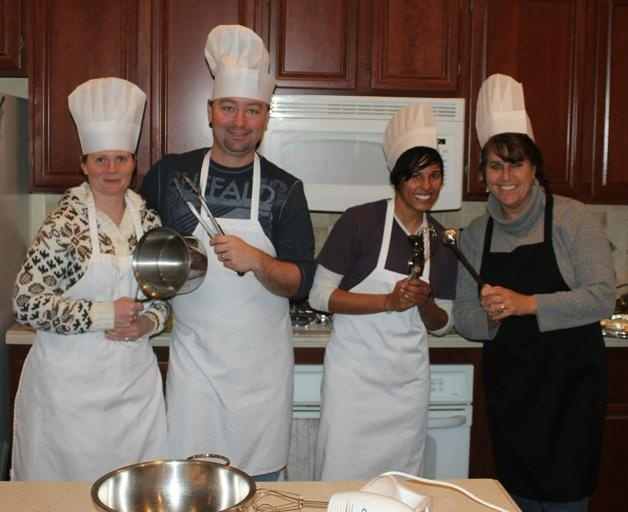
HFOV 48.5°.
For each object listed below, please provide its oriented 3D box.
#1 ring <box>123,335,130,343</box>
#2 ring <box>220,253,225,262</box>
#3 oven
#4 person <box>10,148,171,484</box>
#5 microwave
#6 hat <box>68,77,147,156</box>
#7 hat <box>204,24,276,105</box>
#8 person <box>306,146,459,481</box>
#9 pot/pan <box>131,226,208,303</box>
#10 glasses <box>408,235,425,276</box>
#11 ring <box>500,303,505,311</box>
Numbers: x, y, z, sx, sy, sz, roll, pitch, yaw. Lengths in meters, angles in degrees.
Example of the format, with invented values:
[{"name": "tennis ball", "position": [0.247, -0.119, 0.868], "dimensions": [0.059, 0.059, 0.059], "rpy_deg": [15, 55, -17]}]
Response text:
[{"name": "ring", "position": [-0.578, 0.255, 2.148], "dimensions": [0.020, 0.023, 0.006], "rpy_deg": [-1, 13, -10]}, {"name": "ring", "position": [-0.280, 0.004, 2.152], "dimensions": [0.007, 0.022, 0.016], "rpy_deg": [-29, 2, -39]}, {"name": "oven", "position": [0.276, 0.660, 2.749], "dimensions": [0.617, 0.683, 0.444], "rpy_deg": [1, -6, -5]}, {"name": "person", "position": [-0.720, 0.193, 2.186], "dimensions": [0.511, 1.017, 0.279], "rpy_deg": [-4, 9, -15]}, {"name": "microwave", "position": [0.100, -0.469, 3.248], "dimensions": [0.845, 0.503, 0.473], "rpy_deg": [-1, 9, -3]}, {"name": "hat", "position": [-0.678, -0.430, 2.330], "dimensions": [0.224, 0.202, 0.244], "rpy_deg": [-5, 0, 4]}, {"name": "hat", "position": [-0.235, -0.627, 2.309], "dimensions": [0.173, 0.303, 0.146], "rpy_deg": [1, -21, -16]}, {"name": "person", "position": [0.251, 0.206, 2.355], "dimensions": [0.524, 1.117, 0.388], "rpy_deg": [-2, 9, -7]}, {"name": "pot/pan", "position": [-0.424, 0.023, 2.126], "dimensions": [0.196, 0.238, 0.138], "rpy_deg": [-4, 5, 34]}, {"name": "glasses", "position": [0.313, 0.006, 2.127], "dimensions": [0.047, 0.151, 0.116], "rpy_deg": [0, 9, 9]}, {"name": "ring", "position": [0.599, 0.163, 2.218], "dimensions": [0.016, 0.019, 0.013], "rpy_deg": [-1, 9, 5]}]
